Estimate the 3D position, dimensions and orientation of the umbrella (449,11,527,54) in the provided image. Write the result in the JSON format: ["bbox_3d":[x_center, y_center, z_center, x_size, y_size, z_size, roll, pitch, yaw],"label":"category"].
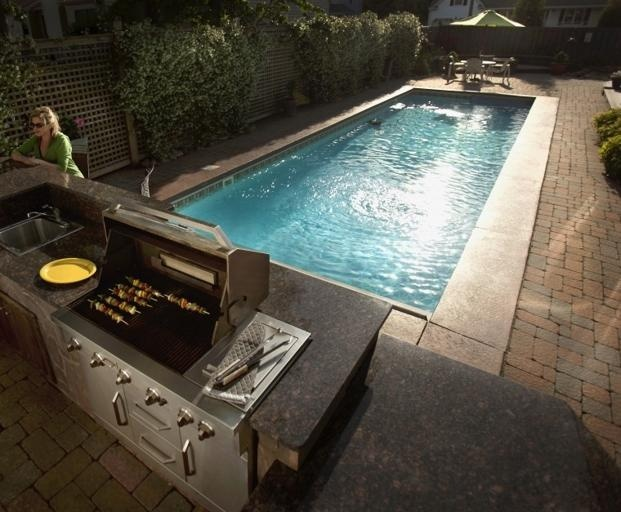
[{"bbox_3d":[7.778,-10.360,18.801,3.852,1.470,3.989,6,35,14],"label":"umbrella"}]

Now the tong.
[{"bbox_3d":[-0.329,0.587,2.612,0.171,0.077,0.658,22,35,32],"label":"tong"}]
